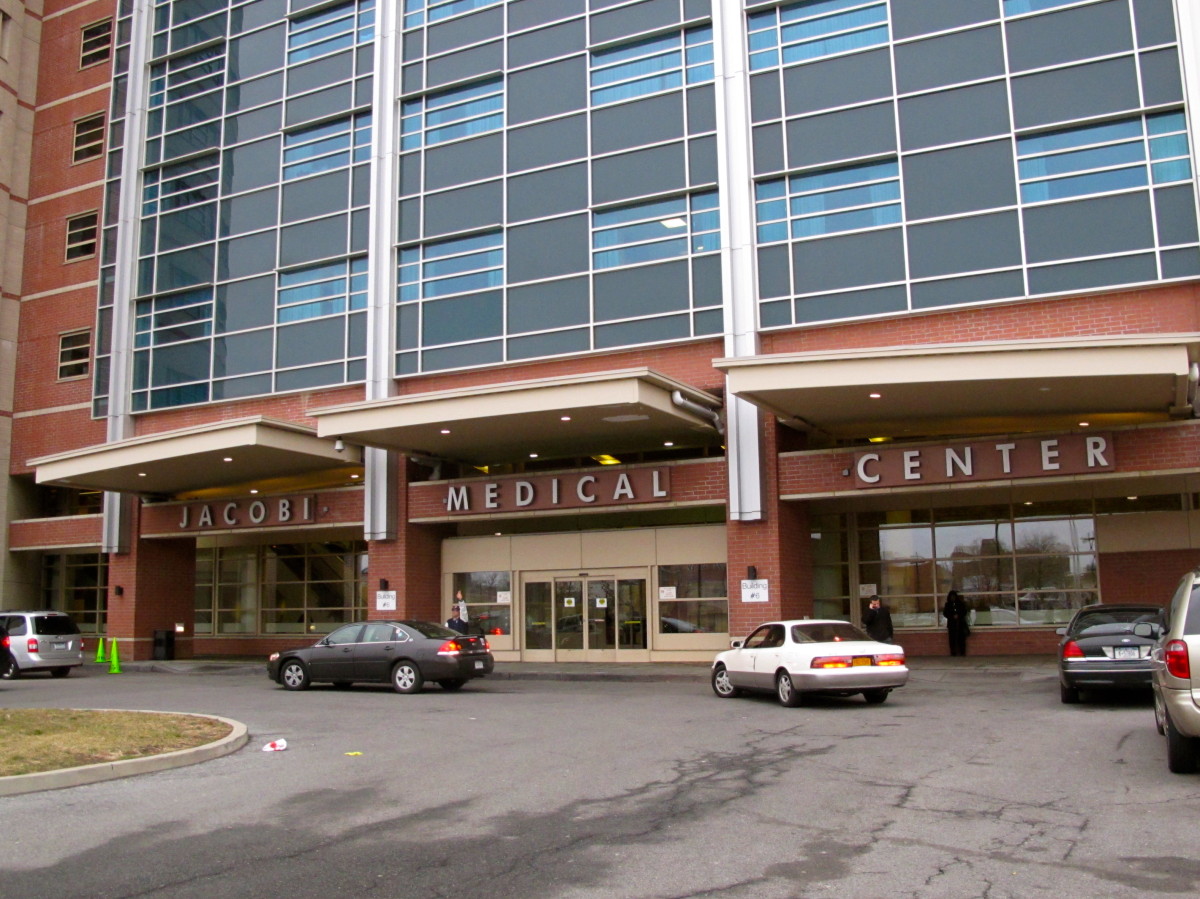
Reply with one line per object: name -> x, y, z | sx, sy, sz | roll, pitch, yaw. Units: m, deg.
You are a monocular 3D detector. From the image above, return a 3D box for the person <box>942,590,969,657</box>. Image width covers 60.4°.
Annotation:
person -> 9.921, 4.767, 28.515 | 0.601, 1.789, 0.746 | -9, -11, 30

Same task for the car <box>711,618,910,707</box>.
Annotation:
car -> 3.707, 3.991, 19.723 | 1.775, 0.916, 3.195 | 3, -8, -20

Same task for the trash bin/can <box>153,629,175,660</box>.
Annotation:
trash bin/can -> -15.586, 6.969, 37.033 | 0.681, 0.997, 0.526 | 2, -11, -26
